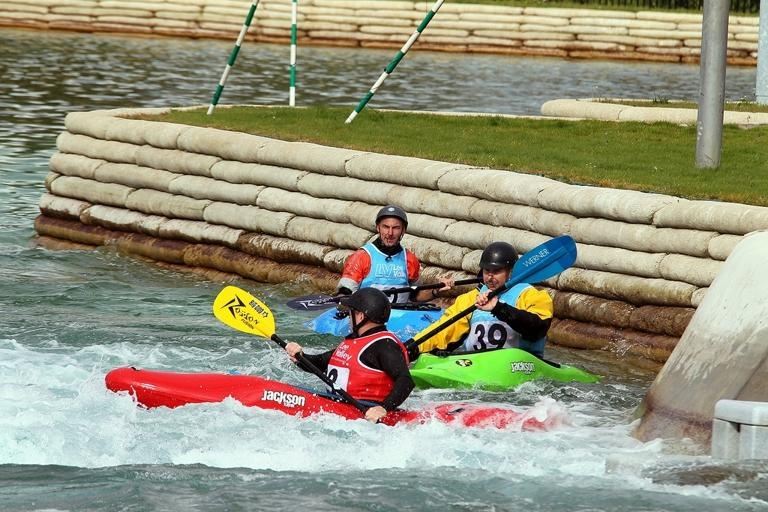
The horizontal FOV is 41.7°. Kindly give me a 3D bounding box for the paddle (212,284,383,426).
[{"bbox_3d":[-0.942,1.105,10.814,2.710,0.433,0.244,24,-30,19],"label":"paddle"}]

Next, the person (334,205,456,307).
[{"bbox_3d":[0.202,0.027,13.049,1.827,1.531,1.044,-3,14,-21],"label":"person"}]

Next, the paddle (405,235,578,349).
[{"bbox_3d":[1.334,0.469,12.027,2.203,0.275,0.066,-15,-1,-8],"label":"paddle"}]

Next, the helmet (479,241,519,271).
[{"bbox_3d":[1.278,0.005,11.395,0.351,0.308,0.272,6,9,21],"label":"helmet"}]

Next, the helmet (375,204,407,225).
[{"bbox_3d":[0.081,-0.501,12.528,0.370,0.228,0.269,2,8,0],"label":"helmet"}]
